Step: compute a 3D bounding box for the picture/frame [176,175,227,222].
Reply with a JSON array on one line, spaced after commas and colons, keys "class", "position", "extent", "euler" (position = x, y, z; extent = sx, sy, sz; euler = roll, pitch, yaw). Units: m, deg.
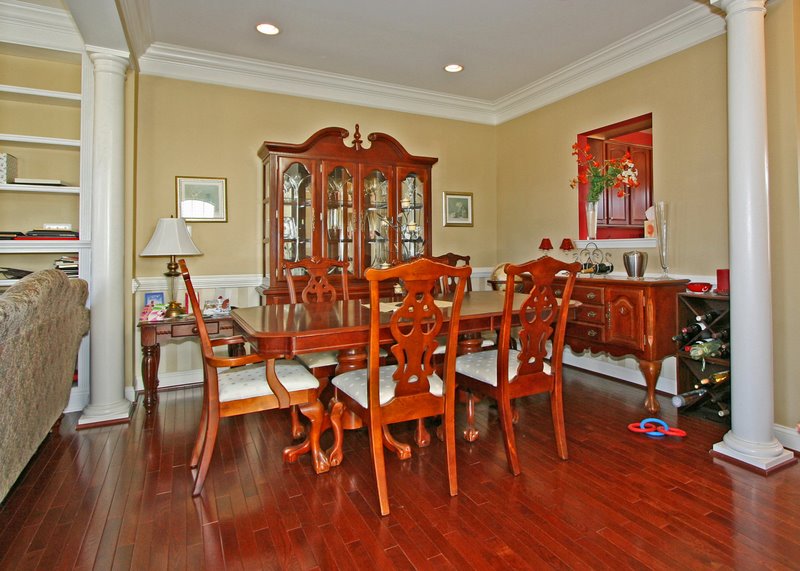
[{"class": "picture/frame", "position": [-1.868, -0.821, 4.848], "extent": [0.494, 0.486, 0.037], "euler": [-1, 0, -27]}]

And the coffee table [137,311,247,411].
[{"class": "coffee table", "position": [-1.796, 0.408, 4.666], "extent": [1.111, 0.947, 0.740], "euler": [-1, 1, -32]}]

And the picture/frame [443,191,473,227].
[{"class": "picture/frame", "position": [0.646, -0.893, 5.983], "extent": [0.406, 0.414, 0.029], "euler": [1, -1, -27]}]

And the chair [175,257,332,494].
[{"class": "chair", "position": [-0.969, 0.548, 3.463], "extent": [0.852, 1.287, 0.787], "euler": [-3, 2, -24]}]

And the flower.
[{"class": "flower", "position": [1.906, -1.102, 4.912], "extent": [0.541, 0.649, 0.762], "euler": [0, 6, 17]}]

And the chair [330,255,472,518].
[{"class": "chair", "position": [-0.064, 0.538, 3.331], "extent": [0.834, 1.393, 0.919], "euler": [0, 8, -3]}]

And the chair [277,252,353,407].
[{"class": "chair", "position": [-0.765, 0.278, 4.763], "extent": [0.626, 1.174, 0.689], "euler": [-4, 12, -11]}]

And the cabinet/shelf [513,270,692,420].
[{"class": "cabinet/shelf", "position": [1.616, 0.455, 4.051], "extent": [0.469, 1.051, 1.112], "euler": [0, 2, -25]}]

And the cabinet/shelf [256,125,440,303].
[{"class": "cabinet/shelf", "position": [-0.562, -0.653, 4.821], "extent": [1.744, 1.968, 0.508], "euler": [-1, 1, -30]}]
